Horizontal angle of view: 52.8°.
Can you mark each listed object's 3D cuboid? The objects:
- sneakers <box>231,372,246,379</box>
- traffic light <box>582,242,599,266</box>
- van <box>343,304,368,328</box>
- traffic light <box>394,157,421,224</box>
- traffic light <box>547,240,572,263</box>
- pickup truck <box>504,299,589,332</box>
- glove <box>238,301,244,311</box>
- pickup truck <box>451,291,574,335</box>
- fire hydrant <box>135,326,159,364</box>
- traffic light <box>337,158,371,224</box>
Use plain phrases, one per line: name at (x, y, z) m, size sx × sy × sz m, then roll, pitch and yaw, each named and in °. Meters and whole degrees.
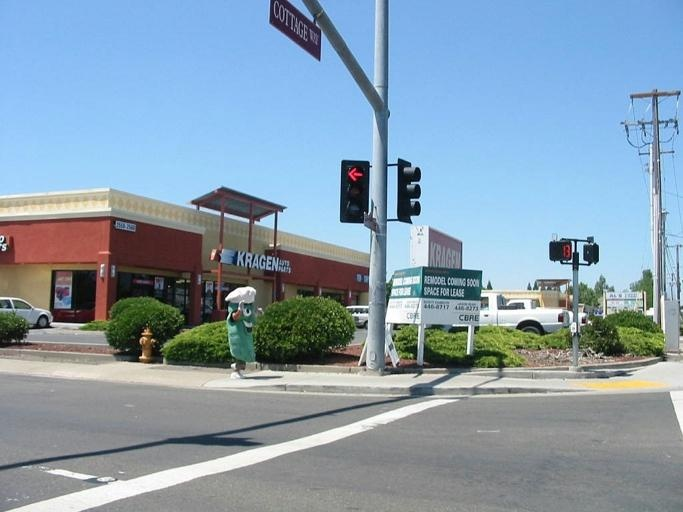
sneakers at (-2.443, 2.845, 16.276) m, size 0.325 × 0.163 × 0.130 m, roll -5°, pitch -7°, yaw 23°
traffic light at (6.169, -0.057, 16.964) m, size 0.419 × 0.561 × 0.294 m, roll -1°, pitch -6°, yaw 4°
van at (1.153, 3.773, 43.361) m, size 2.366 × 1.335 × 1.565 m, roll 2°, pitch -4°, yaw 9°
traffic light at (1.554, -1.471, 15.769) m, size 0.548 × 1.470 × 0.464 m, roll -3°, pitch -7°, yaw 23°
traffic light at (4.970, -0.084, 15.502) m, size 0.467 × 0.550 × 0.260 m, roll 0°, pitch -1°, yaw 3°
pickup truck at (7.164, 2.305, 25.360) m, size 2.413 × 1.172 × 1.433 m, roll 1°, pitch -2°, yaw 26°
glove at (-2.403, 1.220, 16.475) m, size 0.135 × 0.196 × 0.244 m, roll 1°, pitch -7°, yaw -12°
pickup truck at (6.662, 2.274, 25.796) m, size 3.746 × 1.962 × 2.270 m, roll 0°, pitch -4°, yaw 15°
fire hydrant at (-5.503, 2.515, 19.470) m, size 0.442 × 1.015 × 0.770 m, roll 1°, pitch -7°, yaw -13°
traffic light at (0.297, -1.427, 15.535) m, size 0.646 × 1.405 × 0.324 m, roll 0°, pitch -6°, yaw 0°
